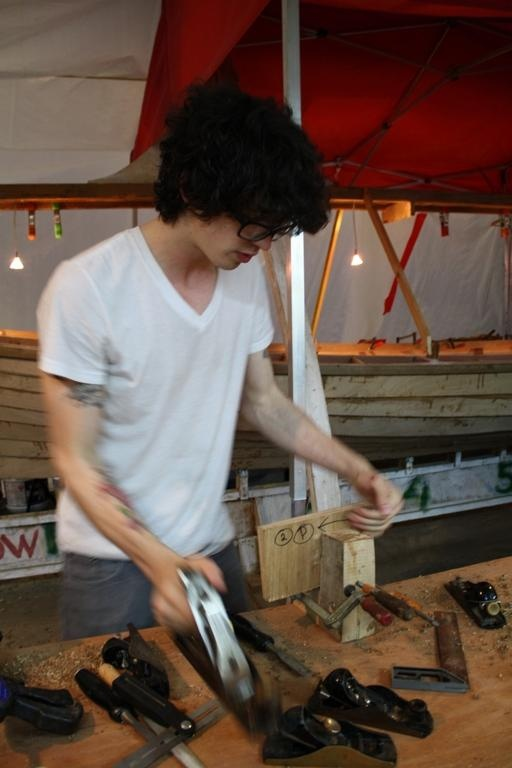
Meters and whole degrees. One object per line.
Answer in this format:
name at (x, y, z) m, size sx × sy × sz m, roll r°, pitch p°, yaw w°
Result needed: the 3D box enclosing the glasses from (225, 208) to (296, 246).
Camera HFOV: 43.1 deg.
glasses at (0.016, -0.277, 1.171) m, size 0.063 × 0.019 × 0.063 m, roll -4°, pitch 36°, yaw -49°
